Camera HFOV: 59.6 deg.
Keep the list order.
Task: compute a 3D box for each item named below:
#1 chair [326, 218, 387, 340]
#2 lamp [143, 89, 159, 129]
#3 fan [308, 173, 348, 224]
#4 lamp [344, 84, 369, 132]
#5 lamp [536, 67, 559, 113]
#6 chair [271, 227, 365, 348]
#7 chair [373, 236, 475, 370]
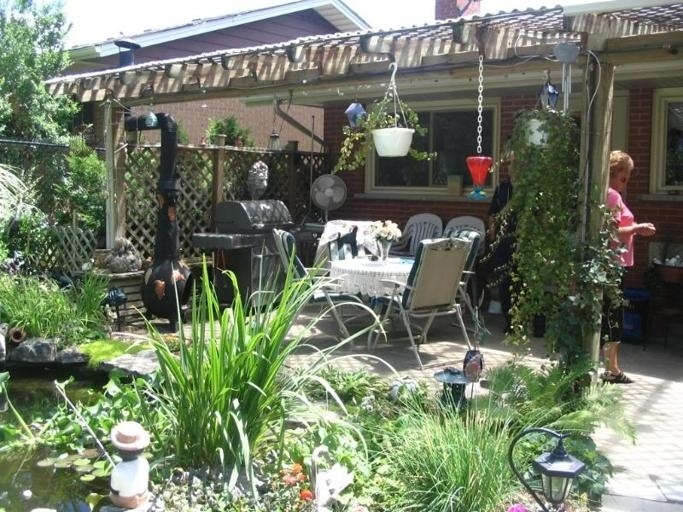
[{"bbox_3d":[0.061,0.383,7.270,0.818,1.279,0.793,-10,23,-33],"label":"chair"},{"bbox_3d":[-2.397,-1.841,7.528,0.135,0.546,1.443,2,4,-18],"label":"lamp"},{"bbox_3d":[-0.203,-0.840,9.602,0.550,0.959,0.337,-2,-14,-8],"label":"fan"},{"bbox_3d":[0.153,-1.613,6.325,0.207,0.510,0.216,3,-3,31],"label":"lamp"},{"bbox_3d":[1.687,-1.349,4.864,0.158,0.309,0.118,3,2,38],"label":"lamp"},{"bbox_3d":[-0.257,0.289,6.450,0.985,1.170,0.729,3,12,1],"label":"chair"},{"bbox_3d":[0.827,0.422,6.106,0.925,1.277,1.008,1,7,15],"label":"chair"}]
